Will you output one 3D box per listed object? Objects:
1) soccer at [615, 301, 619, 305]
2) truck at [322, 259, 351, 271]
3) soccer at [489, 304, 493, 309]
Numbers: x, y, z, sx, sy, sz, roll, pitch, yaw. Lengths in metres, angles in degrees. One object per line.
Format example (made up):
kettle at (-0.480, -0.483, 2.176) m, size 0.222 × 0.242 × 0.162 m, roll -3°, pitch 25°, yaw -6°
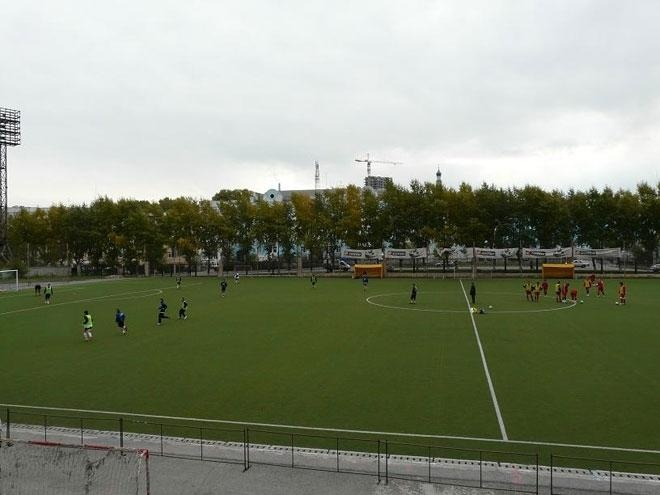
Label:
soccer at (23.901, 4.670, 64.900) m, size 0.193 × 0.156 × 0.205 m, roll 0°, pitch 2°, yaw 25°
truck at (0.893, 3.160, 130.315) m, size 5.018 × 2.390 × 1.941 m, roll 0°, pitch 5°, yaw 14°
soccer at (13.080, 4.892, 63.682) m, size 0.244 × 0.151 × 0.251 m, roll -4°, pitch 5°, yaw -18°
